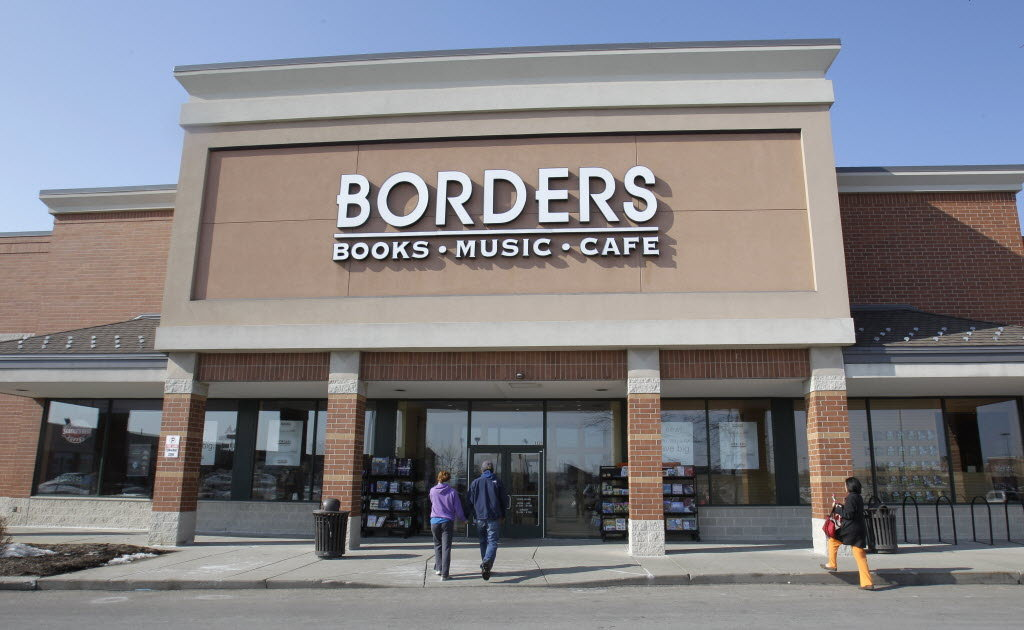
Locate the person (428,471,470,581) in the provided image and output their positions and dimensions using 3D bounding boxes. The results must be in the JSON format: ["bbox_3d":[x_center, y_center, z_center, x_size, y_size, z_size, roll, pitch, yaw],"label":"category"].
[{"bbox_3d":[-1.769,5.548,18.860,0.777,2.704,0.839,0,-18,-3],"label":"person"}]

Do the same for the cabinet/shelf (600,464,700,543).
[{"bbox_3d":[4.589,6.288,23.437,3.670,2.438,1.330,0,-13,2],"label":"cabinet/shelf"}]

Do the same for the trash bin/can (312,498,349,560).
[{"bbox_3d":[-5.342,6.335,21.228,0.833,1.690,1.109,-10,-20,26],"label":"trash bin/can"}]
